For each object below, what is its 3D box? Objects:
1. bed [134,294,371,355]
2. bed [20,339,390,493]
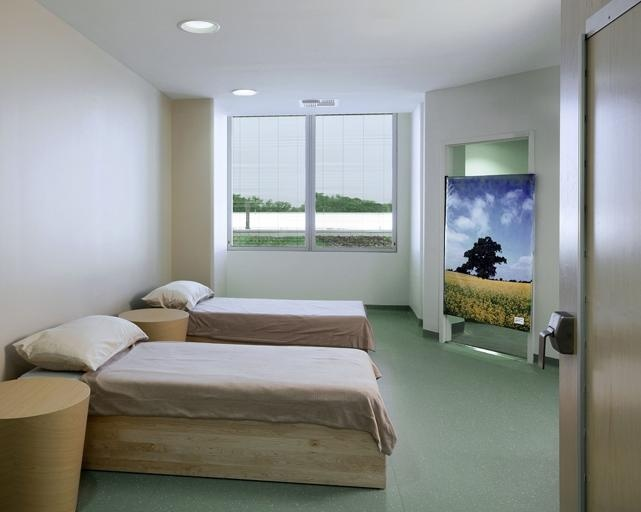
[{"bbox_3d":[-0.387,0.647,4.546,1.597,0.320,0.936,1,7,3],"label":"bed"},{"bbox_3d":[-0.515,0.952,2.848,1.615,0.427,0.929,1,4,2],"label":"bed"}]
